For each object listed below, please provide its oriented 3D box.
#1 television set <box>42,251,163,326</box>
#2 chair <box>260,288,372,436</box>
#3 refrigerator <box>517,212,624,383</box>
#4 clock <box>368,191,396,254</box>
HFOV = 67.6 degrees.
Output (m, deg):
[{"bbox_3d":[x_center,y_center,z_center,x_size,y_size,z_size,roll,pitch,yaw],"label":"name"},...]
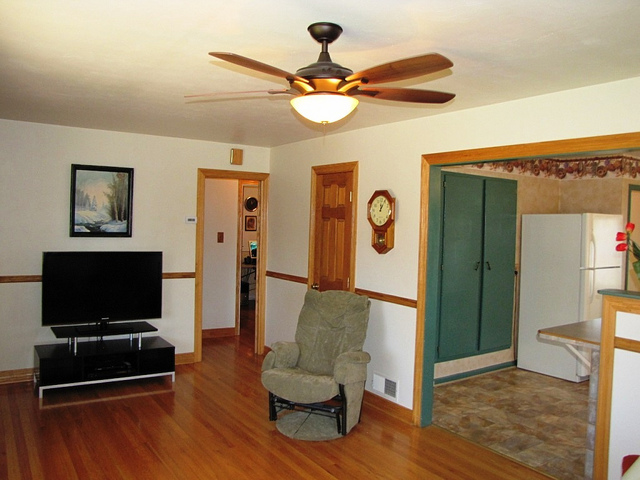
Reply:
[{"bbox_3d":[-2.516,0.540,5.573,1.266,0.820,0.150,-1,7,-24],"label":"television set"},{"bbox_3d":[-0.027,1.208,4.891,0.968,1.234,1.131,3,4,27],"label":"chair"},{"bbox_3d":[3.199,0.710,6.228,1.170,2.133,0.713,5,7,23],"label":"refrigerator"},{"bbox_3d":[0.660,-0.187,5.081,0.126,0.662,0.358,-3,8,-35],"label":"clock"}]
